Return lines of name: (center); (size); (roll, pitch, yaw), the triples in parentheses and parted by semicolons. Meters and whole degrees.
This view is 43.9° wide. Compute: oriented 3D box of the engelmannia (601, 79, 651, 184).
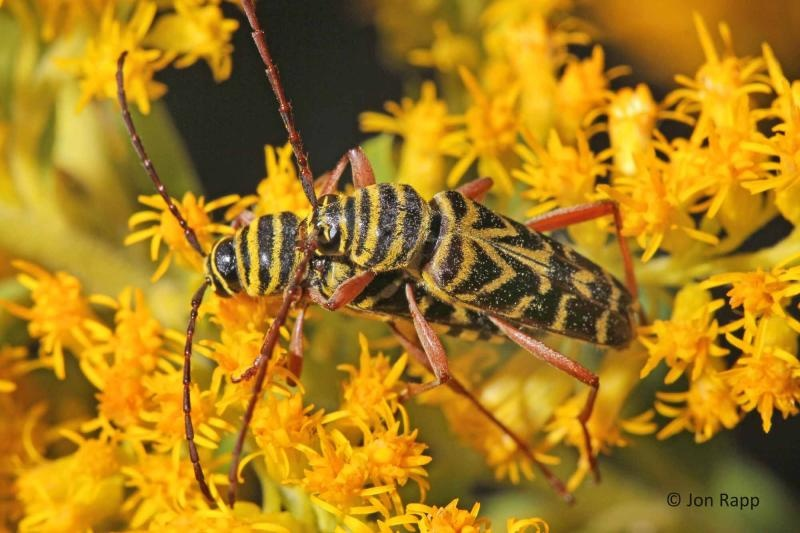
engelmannia: (0.888, -0.533, 3.862); (0.247, 0.319, 0.096); (8, 16, 11)

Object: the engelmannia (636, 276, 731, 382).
engelmannia: (1.080, 0.277, 3.795); (0.319, 0.378, 0.233); (6, 18, 13)

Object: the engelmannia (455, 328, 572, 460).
engelmannia: (0.472, 0.564, 4.240); (0.470, 0.471, 0.188); (-42, -3, 3)
